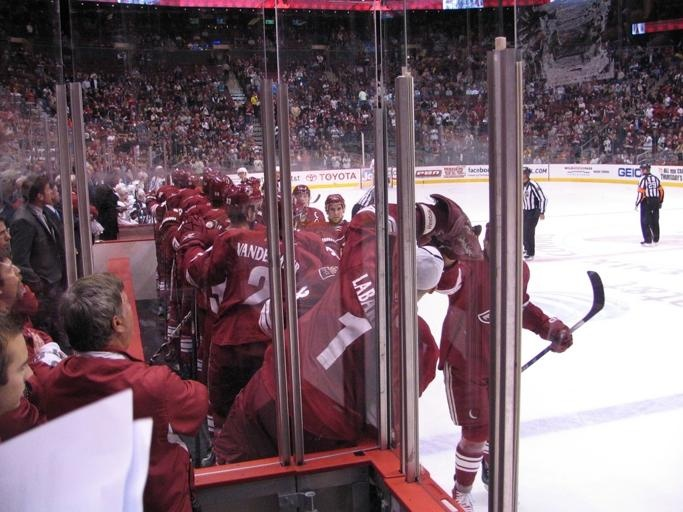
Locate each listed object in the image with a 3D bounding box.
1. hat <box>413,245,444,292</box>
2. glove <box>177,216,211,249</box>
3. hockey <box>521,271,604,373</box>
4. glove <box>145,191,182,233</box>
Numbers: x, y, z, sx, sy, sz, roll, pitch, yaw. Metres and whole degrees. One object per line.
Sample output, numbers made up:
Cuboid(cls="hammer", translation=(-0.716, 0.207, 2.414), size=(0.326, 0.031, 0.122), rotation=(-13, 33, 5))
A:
Cuboid(cls="hat", translation=(0.286, 0.043, 2.308), size=(0.035, 0.158, 0.125), rotation=(-9, 9, -41))
Cuboid(cls="glove", translation=(-0.649, -0.099, 3.024), size=(0.097, 0.159, 0.063), rotation=(6, 25, 9))
Cuboid(cls="hockey", translation=(1.563, 0.483, 4.933), size=(1.033, 0.081, 0.183), rotation=(-45, -26, 9))
Cuboid(cls="glove", translation=(-0.759, -0.193, 2.987), size=(0.124, 0.147, 0.055), rotation=(12, 35, 10))
